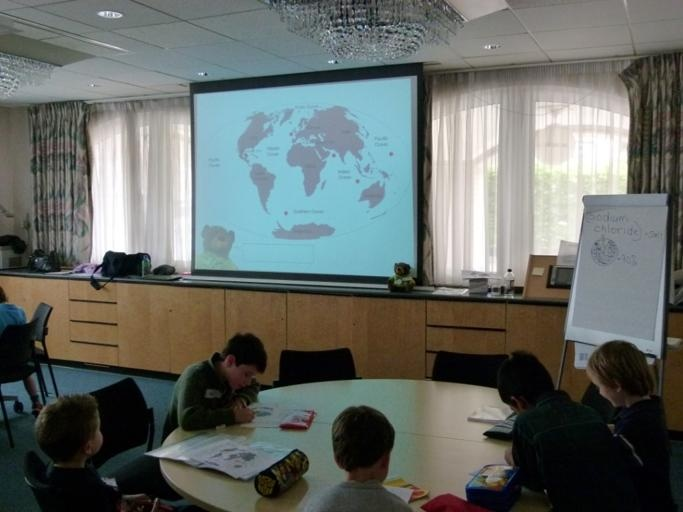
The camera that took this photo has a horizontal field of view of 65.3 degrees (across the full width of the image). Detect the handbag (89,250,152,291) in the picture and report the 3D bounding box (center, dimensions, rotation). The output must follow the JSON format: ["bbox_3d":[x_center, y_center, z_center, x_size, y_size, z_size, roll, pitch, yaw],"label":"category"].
[{"bbox_3d":[-2.520,0.081,6.334,0.618,0.247,0.572,3,-2,40],"label":"handbag"}]

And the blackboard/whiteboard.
[{"bbox_3d":[1.877,0.098,3.573,0.535,1.020,0.343,2,3,37],"label":"blackboard/whiteboard"}]

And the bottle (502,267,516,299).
[{"bbox_3d":[1.589,0.239,5.076,0.095,0.234,0.382,1,3,17],"label":"bottle"}]
